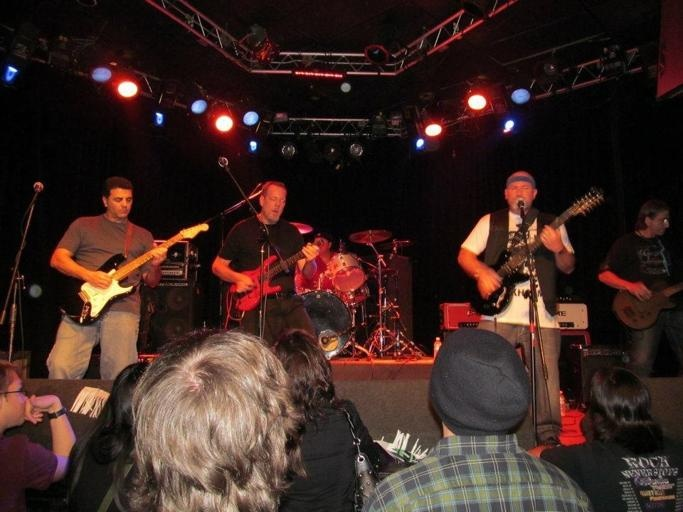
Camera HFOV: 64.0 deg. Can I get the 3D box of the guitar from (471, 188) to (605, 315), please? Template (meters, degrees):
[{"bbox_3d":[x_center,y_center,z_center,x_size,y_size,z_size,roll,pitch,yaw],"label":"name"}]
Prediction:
[{"bbox_3d":[1.508,-0.021,4.279,0.846,0.989,0.567,1,-4,-6],"label":"guitar"}]

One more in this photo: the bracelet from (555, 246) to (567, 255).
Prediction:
[{"bbox_3d":[1.689,-0.039,4.215,0.080,0.066,0.085,-1,4,4],"label":"bracelet"}]

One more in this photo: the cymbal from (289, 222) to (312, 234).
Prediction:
[{"bbox_3d":[-0.586,-0.367,7.877,0.333,0.102,0.325,25,-16,-39],"label":"cymbal"}]

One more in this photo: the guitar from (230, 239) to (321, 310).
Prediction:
[{"bbox_3d":[-0.651,0.157,5.145,0.774,0.312,0.108,-32,-11,-5],"label":"guitar"}]

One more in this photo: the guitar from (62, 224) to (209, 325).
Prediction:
[{"bbox_3d":[-1.936,0.245,4.605,0.686,0.637,0.235,3,-4,-30],"label":"guitar"}]

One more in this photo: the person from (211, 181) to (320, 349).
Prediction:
[{"bbox_3d":[-0.689,0.352,5.290,0.984,2.113,0.689,-5,21,-11],"label":"person"}]

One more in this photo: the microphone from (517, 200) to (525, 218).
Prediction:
[{"bbox_3d":[1.375,-0.368,4.197,0.045,0.156,0.143,0,-4,14],"label":"microphone"}]

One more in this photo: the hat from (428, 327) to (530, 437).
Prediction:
[{"bbox_3d":[0.594,0.547,2.397,0.421,0.486,0.573,-5,4,11],"label":"hat"}]
